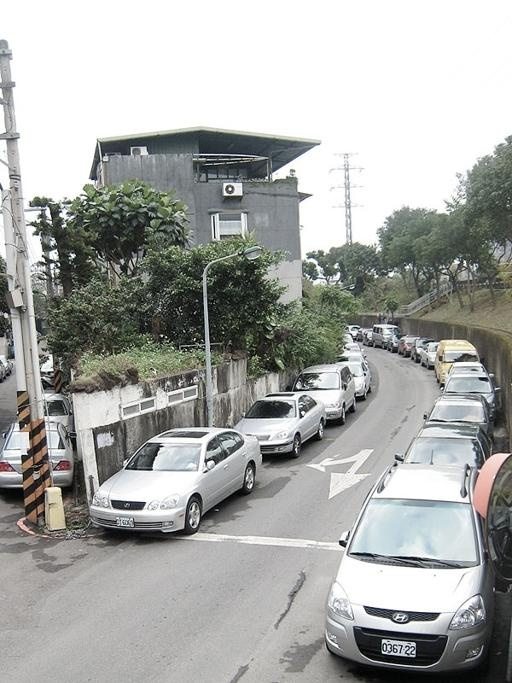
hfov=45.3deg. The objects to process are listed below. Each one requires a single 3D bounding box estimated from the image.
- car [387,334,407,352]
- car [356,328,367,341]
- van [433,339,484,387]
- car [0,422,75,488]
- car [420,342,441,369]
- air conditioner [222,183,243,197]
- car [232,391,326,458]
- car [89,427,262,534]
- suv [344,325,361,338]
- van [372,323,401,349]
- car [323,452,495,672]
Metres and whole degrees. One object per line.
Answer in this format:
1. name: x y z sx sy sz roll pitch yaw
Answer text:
1. car: 11.159 0.178 48.813 1.253 1.011 2.882 -3 1 -1
2. car: 11.266 -0.630 65.832 1.399 1.360 3.118 -1 3 7
3. van: 9.200 0.874 28.112 1.677 1.777 3.221 -1 -1 13
4. car: -4.463 2.447 12.803 1.008 0.844 2.425 0 8 -7
5. car: 10.203 0.862 36.485 0.997 1.072 2.288 -1 2 1
6. air conditioner: -1.369 -8.484 35.107 1.146 0.800 0.676 0 -3 -6
7. car: 0.751 2.114 16.282 1.135 1.013 2.781 -2 -1 16
8. car: -1.193 2.322 10.759 1.186 0.932 2.849 -1 -2 18
9. suv: 11.086 -1.285 70.854 1.764 1.594 3.168 -2 -2 3
10. van: 11.365 -0.394 53.972 1.519 1.561 2.722 -3 4 -12
11. car: 1.514 2.108 5.871 0.911 0.962 1.969 -2 -3 21
